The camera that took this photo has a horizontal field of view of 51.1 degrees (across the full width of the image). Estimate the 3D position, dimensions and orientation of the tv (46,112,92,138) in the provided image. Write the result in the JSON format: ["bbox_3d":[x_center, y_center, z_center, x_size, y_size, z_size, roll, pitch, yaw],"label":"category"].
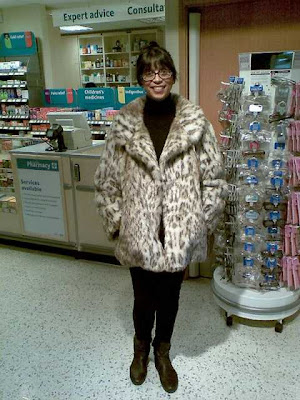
[{"bbox_3d":[-0.909,-0.857,3.507,0.442,0.295,0.157,6,32,18],"label":"tv"}]

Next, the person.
[{"bbox_3d":[0.034,0.157,1.352,0.567,1.555,0.365,1,11,13],"label":"person"}]

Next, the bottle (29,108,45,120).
[{"bbox_3d":[-2.975,-2.292,8.310,0.318,0.225,0.178,8,25,12],"label":"bottle"}]

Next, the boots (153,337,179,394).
[{"bbox_3d":[0.075,0.794,1.545,0.084,0.209,0.220,-8,21,-13],"label":"boots"}]

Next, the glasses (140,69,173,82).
[{"bbox_3d":[0.023,-0.465,1.178,0.107,0.040,0.039,-2,11,-2],"label":"glasses"}]
